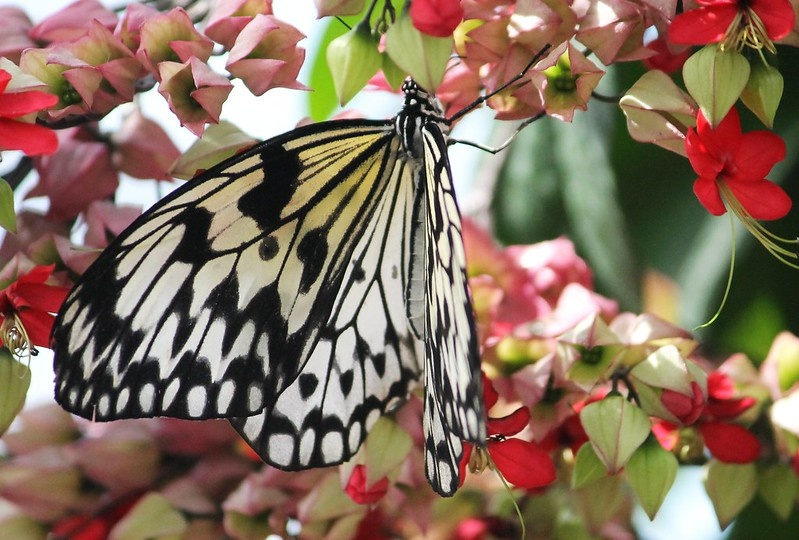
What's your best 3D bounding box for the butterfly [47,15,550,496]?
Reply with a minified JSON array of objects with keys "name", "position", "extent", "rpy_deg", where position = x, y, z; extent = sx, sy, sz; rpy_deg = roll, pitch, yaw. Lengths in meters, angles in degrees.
[{"name":"butterfly","position":[0.004,-0.002,1.363],"extent":[0.334,0.630,0.512],"rpy_deg":[-17,60,36]}]
